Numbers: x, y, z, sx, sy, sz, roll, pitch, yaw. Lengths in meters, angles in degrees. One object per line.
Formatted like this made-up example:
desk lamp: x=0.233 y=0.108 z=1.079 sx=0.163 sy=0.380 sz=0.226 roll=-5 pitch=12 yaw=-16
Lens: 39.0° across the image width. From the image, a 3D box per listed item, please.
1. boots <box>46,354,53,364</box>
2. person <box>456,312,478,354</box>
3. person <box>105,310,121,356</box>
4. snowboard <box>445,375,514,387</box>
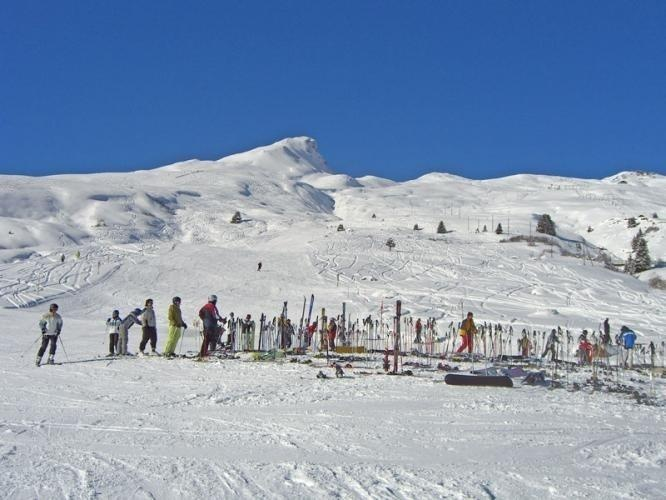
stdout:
boots: x=-7.987 y=3.117 z=26.699 sx=0.197 sy=0.255 sz=0.611 roll=5 pitch=-7 yaw=-16
person: x=4.342 y=2.695 z=30.410 sx=0.596 sy=1.298 sz=1.577 roll=2 pitch=-7 yaw=8
person: x=-6.757 y=2.550 z=29.039 sx=0.384 sy=1.465 sz=2.337 roll=5 pitch=-7 yaw=-14
snowboard: x=4.006 y=3.570 z=25.734 sx=1.794 sy=0.341 sz=0.504 roll=2 pitch=-7 yaw=9
